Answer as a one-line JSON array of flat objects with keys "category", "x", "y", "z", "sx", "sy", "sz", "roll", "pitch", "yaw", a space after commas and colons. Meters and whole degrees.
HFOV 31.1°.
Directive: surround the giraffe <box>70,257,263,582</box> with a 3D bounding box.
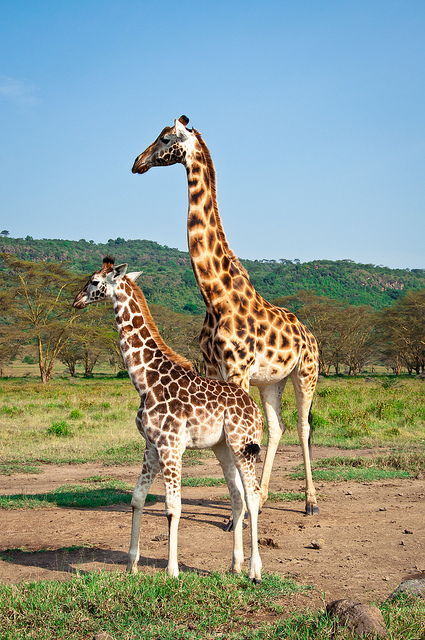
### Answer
[{"category": "giraffe", "x": -0.316, "y": 0.889, "z": 7.363, "sx": 1.570, "sy": 2.850, "sz": 2.197, "roll": 2, "pitch": -4, "yaw": 3}]
